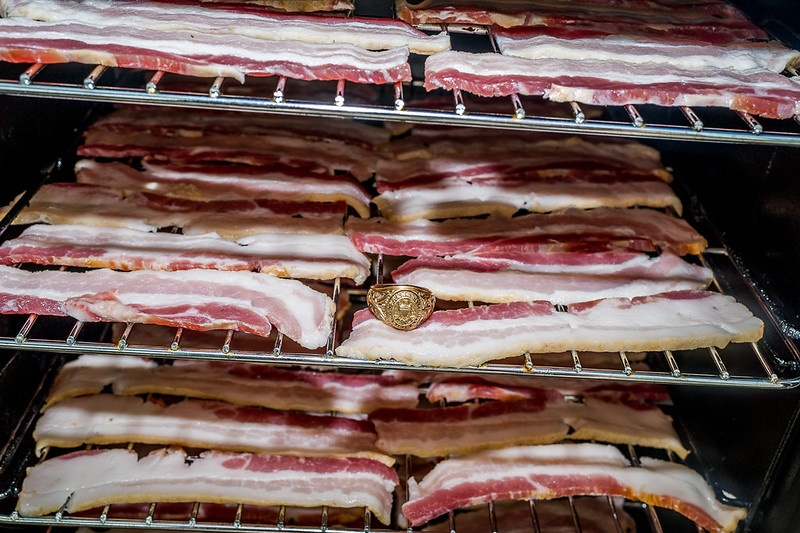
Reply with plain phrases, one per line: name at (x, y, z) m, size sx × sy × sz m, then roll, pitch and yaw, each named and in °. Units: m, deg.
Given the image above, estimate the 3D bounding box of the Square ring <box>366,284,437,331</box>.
Square ring at (0.001, 0.135, 2.312) m, size 0.225 × 0.139 × 0.120 m, roll 3°, pitch 39°, yaw -1°
